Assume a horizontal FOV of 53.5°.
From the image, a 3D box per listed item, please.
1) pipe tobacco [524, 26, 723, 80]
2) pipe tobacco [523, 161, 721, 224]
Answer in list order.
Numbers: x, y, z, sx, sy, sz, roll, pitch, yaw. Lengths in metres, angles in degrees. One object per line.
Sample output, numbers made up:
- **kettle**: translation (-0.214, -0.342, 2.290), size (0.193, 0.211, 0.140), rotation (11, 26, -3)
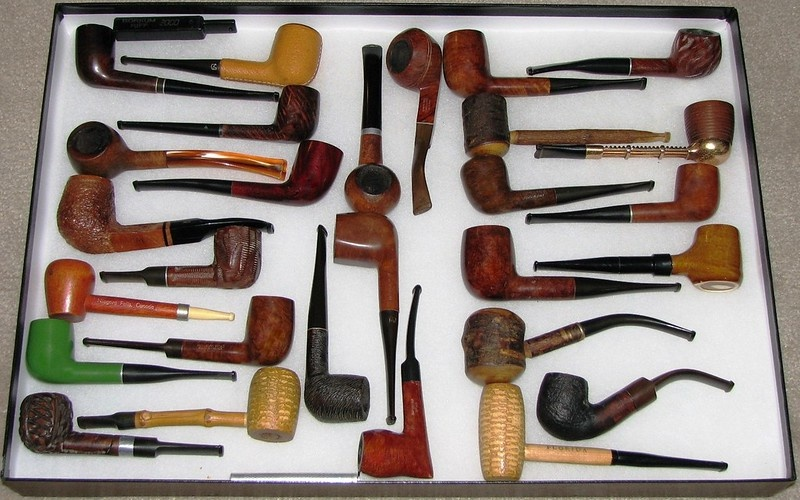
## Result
- **pipe tobacco**: translation (0.990, -0.866, 3.513), size (0.740, 0.171, 0.190), rotation (-4, 70, 6)
- **pipe tobacco**: translation (0.936, -0.235, 3.362), size (0.683, 0.136, 0.219), rotation (-3, 49, 7)
